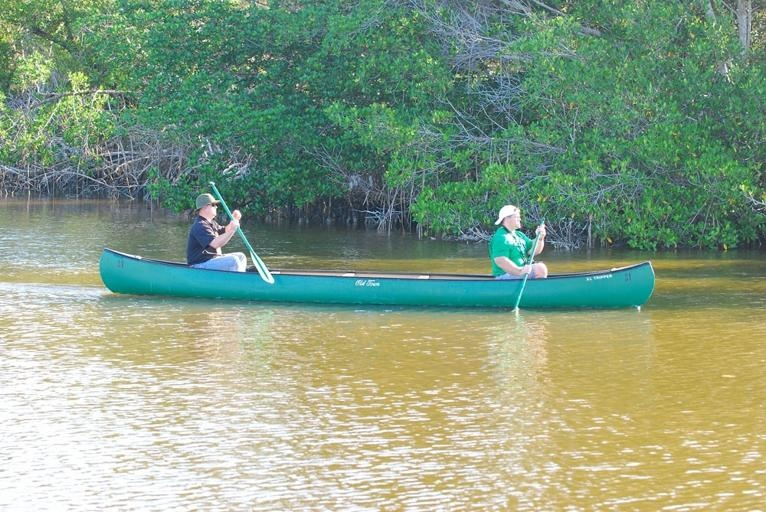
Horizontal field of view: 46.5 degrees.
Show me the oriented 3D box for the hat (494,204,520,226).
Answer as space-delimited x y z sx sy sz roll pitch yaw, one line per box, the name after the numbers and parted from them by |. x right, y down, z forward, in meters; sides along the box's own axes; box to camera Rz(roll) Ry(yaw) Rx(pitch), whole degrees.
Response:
2.119 -0.699 15.083 0.289 0.365 0.861 2 11 7 | hat

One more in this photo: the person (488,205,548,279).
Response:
2.281 -0.226 14.863 0.883 1.212 1.057 3 13 12 | person
